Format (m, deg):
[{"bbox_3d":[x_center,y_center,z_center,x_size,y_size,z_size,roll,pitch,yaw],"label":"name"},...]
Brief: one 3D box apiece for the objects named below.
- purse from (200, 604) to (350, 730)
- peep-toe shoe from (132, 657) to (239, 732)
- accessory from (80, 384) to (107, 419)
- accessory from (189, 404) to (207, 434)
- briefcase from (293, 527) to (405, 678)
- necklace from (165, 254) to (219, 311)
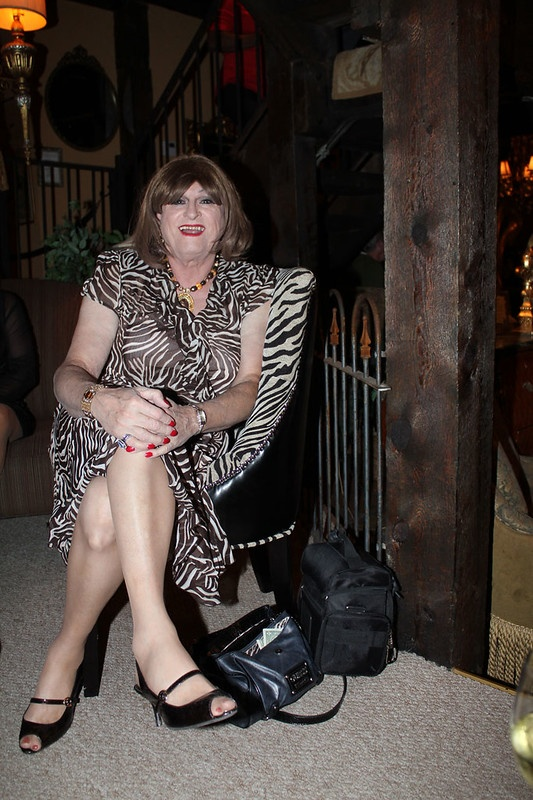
[{"bbox_3d":[0.004,0.524,1.258,0.289,0.109,0.326,-5,14,-3],"label":"purse"},{"bbox_3d":[-0.150,0.491,1.047,0.220,0.103,0.080,-16,-14,38],"label":"peep-toe shoe"},{"bbox_3d":[-0.333,0.006,1.210,0.046,0.059,0.022,-2,-15,37],"label":"accessory"},{"bbox_3d":[-0.132,0.039,1.235,0.017,0.049,0.041,-7,15,-37],"label":"accessory"},{"bbox_3d":[0.189,0.459,1.403,0.198,0.299,0.264,1,9,3],"label":"briefcase"},{"bbox_3d":[-0.180,-0.264,1.460,0.109,0.143,0.017,2,-20,7],"label":"necklace"}]
